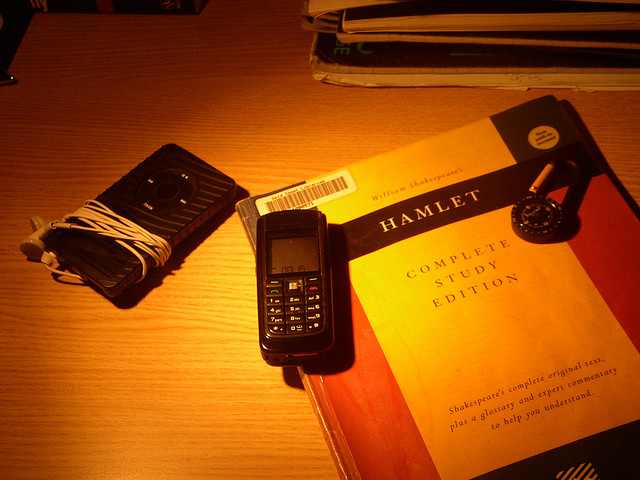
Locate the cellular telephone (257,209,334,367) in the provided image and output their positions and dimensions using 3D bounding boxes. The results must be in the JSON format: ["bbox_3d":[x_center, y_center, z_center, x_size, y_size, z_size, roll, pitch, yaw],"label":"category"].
[{"bbox_3d":[-0.025,0.050,0.584,0.107,0.052,0.149,-4,71,1],"label":"cellular telephone"}]

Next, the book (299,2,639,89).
[{"bbox_3d":[0.217,-0.258,0.720,0.279,0.044,0.206,-2,31,1],"label":"book"}]

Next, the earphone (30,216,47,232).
[{"bbox_3d":[-0.348,-0.019,0.663,0.013,0.021,0.013,-19,80,-25],"label":"earphone"}]

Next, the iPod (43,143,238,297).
[{"bbox_3d":[-0.203,-0.024,0.718,0.146,0.050,0.238,41,67,20],"label":"iPod"}]
